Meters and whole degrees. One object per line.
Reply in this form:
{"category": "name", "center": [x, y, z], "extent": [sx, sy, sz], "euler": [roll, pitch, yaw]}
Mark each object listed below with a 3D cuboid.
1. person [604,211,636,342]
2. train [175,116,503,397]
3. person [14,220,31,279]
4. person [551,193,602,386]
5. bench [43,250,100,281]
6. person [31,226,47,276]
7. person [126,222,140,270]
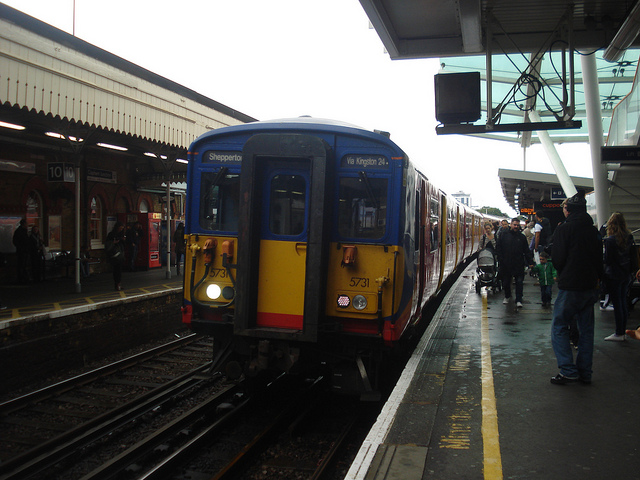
{"category": "person", "center": [5.199, 0.660, 8.723], "extent": [0.445, 2.255, 0.820], "euler": [-1, 1, 32]}
{"category": "train", "center": [-0.333, 0.226, 6.725], "extent": [2.954, 2.863, 0.653], "euler": [-1, 1, 10]}
{"category": "person", "center": [-9.229, 0.301, 15.685], "extent": [0.472, 2.030, 0.397], "euler": [-1, 1, 15]}
{"category": "person", "center": [3.454, 0.673, 6.783], "extent": [0.681, 2.574, 0.371], "euler": [-1, 1, -10]}
{"category": "bench", "center": [-8.891, 0.815, 17.793], "extent": [0.690, 0.928, 2.029], "euler": [-15, -10, 36]}
{"category": "person", "center": [-9.039, 0.334, 16.094], "extent": [0.302, 1.663, 0.835], "euler": [-2, 1, -18]}
{"category": "person", "center": [-7.193, 0.294, 19.356], "extent": [0.475, 1.706, 2.330], "euler": [-2, 1, -21]}
